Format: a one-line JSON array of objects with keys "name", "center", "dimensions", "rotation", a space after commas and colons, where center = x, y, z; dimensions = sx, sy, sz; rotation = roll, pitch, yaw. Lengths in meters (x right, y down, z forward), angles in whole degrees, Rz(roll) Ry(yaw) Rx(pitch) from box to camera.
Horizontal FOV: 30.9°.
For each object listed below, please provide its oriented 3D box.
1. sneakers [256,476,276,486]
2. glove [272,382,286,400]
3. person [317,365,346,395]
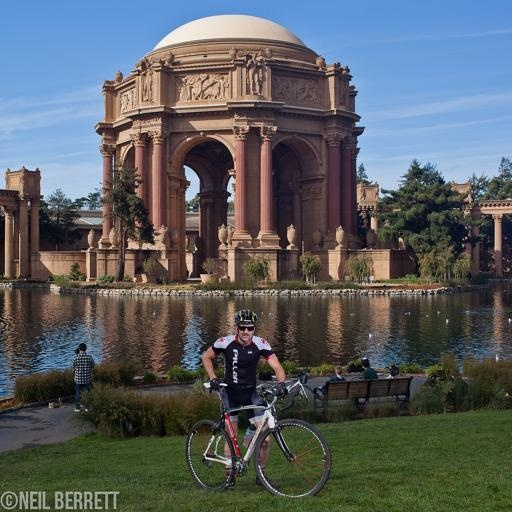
[{"name": "sneakers", "center": [0.129, 2.754, 11.216], "dimensions": [0.231, 0.088, 0.134], "rotation": [3, 1, -38]}, {"name": "glove", "center": [0.298, 1.612, 11.198], "dimensions": [0.151, 0.098, 0.209], "rotation": [-24, 13, 11]}, {"name": "person", "center": [1.515, 2.373, 17.574], "dimensions": [0.407, 0.788, 0.535], "rotation": [1, 0, -12]}]
